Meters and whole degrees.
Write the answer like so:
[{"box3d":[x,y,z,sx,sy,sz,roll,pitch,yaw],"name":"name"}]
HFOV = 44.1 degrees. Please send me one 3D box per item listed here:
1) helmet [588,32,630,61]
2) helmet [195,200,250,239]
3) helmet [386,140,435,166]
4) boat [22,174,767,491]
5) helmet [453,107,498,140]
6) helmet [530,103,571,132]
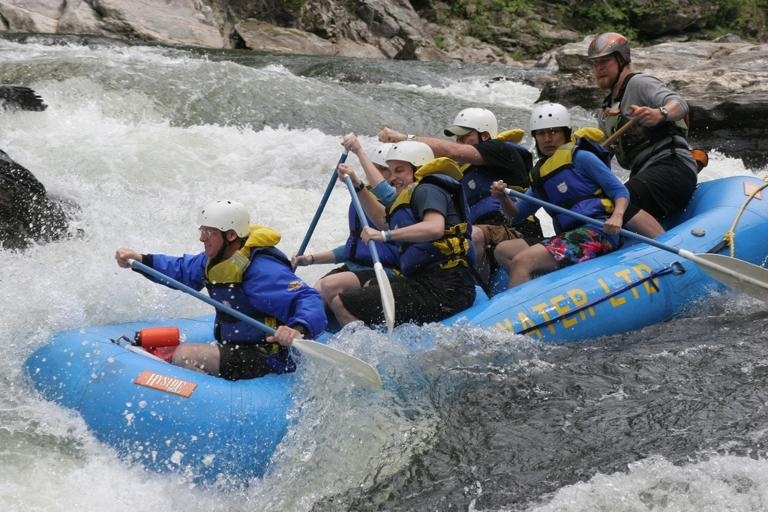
[{"box3d":[2.549,-2.386,10.658,0.478,0.282,0.329,-18,25,-14],"name":"helmet"},{"box3d":[-1.582,-0.396,9.429,0.549,0.299,0.346,-11,17,-17],"name":"helmet"},{"box3d":[0.250,-1.079,9.789,0.407,0.254,0.272,-21,14,4],"name":"helmet"},{"box3d":[0.349,0.793,9.550,6.108,0.794,2.995,-11,8,-22],"name":"boat"},{"box3d":[1.016,-1.536,10.775,0.536,0.201,0.311,5,1,-15],"name":"helmet"},{"box3d":[1.770,-1.534,10.241,0.357,0.369,0.274,-5,52,24],"name":"helmet"}]
